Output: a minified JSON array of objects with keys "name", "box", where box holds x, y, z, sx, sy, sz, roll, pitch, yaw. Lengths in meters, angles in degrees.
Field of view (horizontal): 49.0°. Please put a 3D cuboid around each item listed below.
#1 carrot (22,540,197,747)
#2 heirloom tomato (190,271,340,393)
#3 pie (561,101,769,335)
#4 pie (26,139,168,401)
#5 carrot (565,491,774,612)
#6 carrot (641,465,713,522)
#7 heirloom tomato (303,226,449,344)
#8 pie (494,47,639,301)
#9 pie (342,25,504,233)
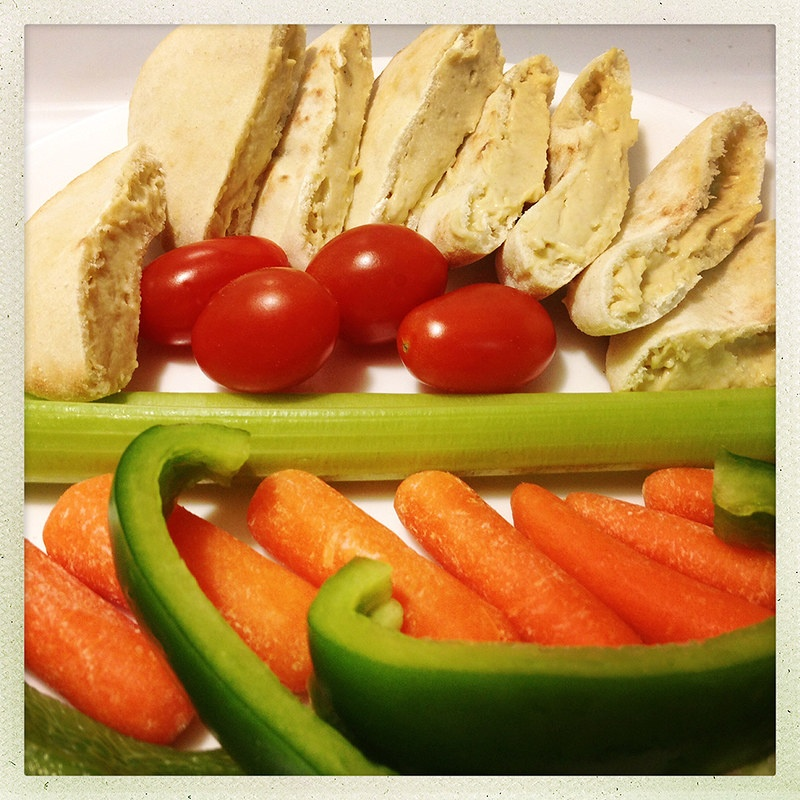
[{"name":"carrot","box":[-0.346,0.261,1.002,0.273,0.092,0.108,38,15,20]},{"name":"heirloom tomato","box":[-0.181,-0.090,1.185,0.205,0.169,0.166,-10,1,-18]},{"name":"pie","box":[0.369,-0.246,1.196,0.335,0.110,0.174,-50,43,0]},{"name":"pie","box":[-0.410,-0.175,1.169,0.149,0.295,0.245,0,22,3]},{"name":"carrot","box":[0.315,0.178,1.099,0.283,0.082,0.074,27,24,17]},{"name":"carrot","box":[0.349,0.124,1.130,0.111,0.061,0.057,4,0,-11]},{"name":"heirloom tomato","box":[-0.030,-0.162,1.258,0.201,0.162,0.176,-9,67,-8]},{"name":"pie","box":[0.232,-0.310,1.229,0.149,0.159,0.463,10,66,25]},{"name":"pie","box":[0.047,-0.378,1.356,0.098,0.337,0.188,21,16,-29]}]
